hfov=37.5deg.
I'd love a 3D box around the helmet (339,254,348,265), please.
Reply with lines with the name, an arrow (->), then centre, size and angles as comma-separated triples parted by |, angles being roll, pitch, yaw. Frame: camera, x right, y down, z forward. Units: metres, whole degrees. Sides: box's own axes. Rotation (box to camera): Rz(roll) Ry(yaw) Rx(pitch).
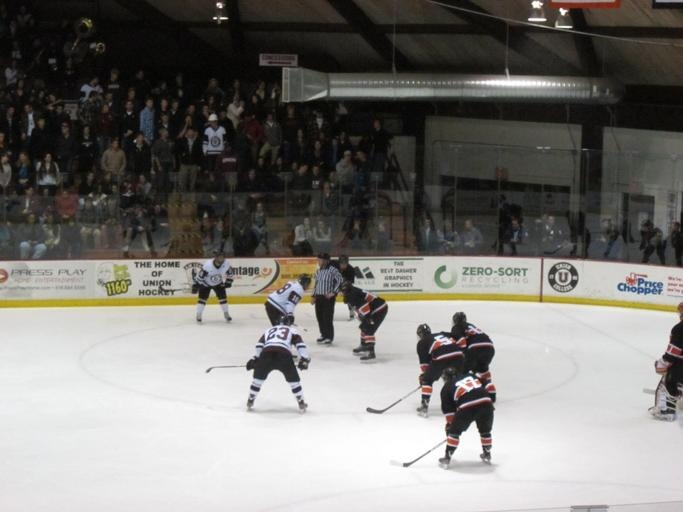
helmet -> 0.034, 0.043, 22.870 | 0.154, 0.199, 0.210 | 1, 45, -2

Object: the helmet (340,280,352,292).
helmet -> 0.081, 0.645, 21.444 | 0.181, 0.246, 0.247 | 11, 41, 13

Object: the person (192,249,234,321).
person -> -3.079, 0.668, 24.149 | 0.879, 2.098, 0.739 | -3, 31, -16

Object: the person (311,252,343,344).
person -> -0.336, 0.937, 22.174 | 0.644, 2.005, 0.726 | 0, 4, -1

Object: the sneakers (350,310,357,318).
sneakers -> 0.261, 1.397, 24.326 | 0.154, 0.236, 0.256 | 0, -1, -4

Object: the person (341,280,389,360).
person -> 0.545, 1.404, 22.130 | 1.326, 2.236, 1.149 | 1, -1, 2

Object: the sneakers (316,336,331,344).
sneakers -> -0.385, 1.858, 22.246 | 0.285, 0.135, 0.150 | 7, 5, 44

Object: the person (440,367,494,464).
person -> 2.107, 2.739, 17.175 | 0.877, 1.606, 0.464 | 1, 4, 7

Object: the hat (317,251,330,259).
hat -> -0.391, -0.030, 22.146 | 0.172, 0.173, 0.210 | 16, -16, 6

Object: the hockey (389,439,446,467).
hockey -> 1.413, 3.357, 17.249 | 1.007, 0.427, 0.478 | -3, 5, -36

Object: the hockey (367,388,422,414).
hockey -> 0.987, 2.728, 18.972 | 1.186, 0.333, 0.486 | -2, 5, -34

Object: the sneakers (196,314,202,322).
sneakers -> -3.386, 1.464, 23.899 | 0.126, 0.181, 0.245 | 0, 4, -9

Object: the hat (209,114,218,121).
hat -> -3.540, -3.809, 27.650 | 0.192, 0.218, 0.266 | 6, 23, 14

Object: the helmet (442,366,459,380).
helmet -> 1.846, 2.008, 17.293 | 0.186, 0.257, 0.241 | 31, 18, 37

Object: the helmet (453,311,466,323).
helmet -> 2.226, 1.155, 19.169 | 0.165, 0.227, 0.227 | 1, 11, -6

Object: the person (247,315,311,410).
person -> -1.197, 1.956, 18.603 | 1.063, 2.016, 0.686 | 2, -28, 2

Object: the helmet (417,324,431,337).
helmet -> 1.543, 1.371, 18.846 | 0.219, 0.278, 0.283 | 0, -14, -8
